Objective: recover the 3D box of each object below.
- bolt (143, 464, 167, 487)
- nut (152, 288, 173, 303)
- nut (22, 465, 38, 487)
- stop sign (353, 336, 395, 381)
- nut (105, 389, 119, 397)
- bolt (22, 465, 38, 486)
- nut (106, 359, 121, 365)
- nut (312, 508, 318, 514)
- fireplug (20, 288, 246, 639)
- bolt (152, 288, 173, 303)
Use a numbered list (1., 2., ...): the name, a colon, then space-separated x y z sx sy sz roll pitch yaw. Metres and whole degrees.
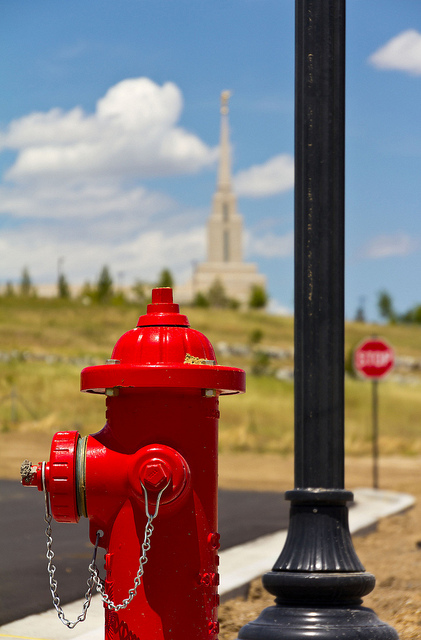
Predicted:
1. bolt: -0.199 0.584 5.836 0.063 0.077 0.024 3 -4 9
2. nut: -0.182 -0.091 6.104 0.055 0.068 0.058 0 3 4
3. nut: -0.680 0.607 5.981 0.044 0.071 0.049 -3 -5 6
4. stop sign: 1.936 0.470 18.487 0.506 0.614 0.065 0 -32 8
5. nut: -0.367 0.279 5.988 0.032 0.035 0.012 5 38 2
6. bolt: -0.669 0.588 5.943 0.058 0.092 0.061 3 6 5
7. nut: -0.371 0.162 5.968 0.024 0.020 0.027 -1 -6 15
8. nut: 0.436 0.789 6.469 0.019 0.023 0.007 -4 -1 -4
9. fireplug: -0.302 0.600 6.020 0.707 1.342 0.707 3 -8 -26
10. bolt: -0.179 -0.091 6.104 0.056 0.066 0.057 0 3 -16
